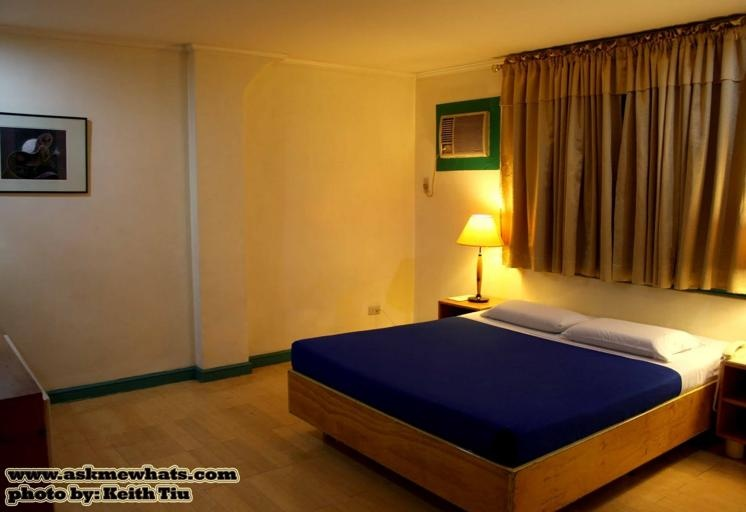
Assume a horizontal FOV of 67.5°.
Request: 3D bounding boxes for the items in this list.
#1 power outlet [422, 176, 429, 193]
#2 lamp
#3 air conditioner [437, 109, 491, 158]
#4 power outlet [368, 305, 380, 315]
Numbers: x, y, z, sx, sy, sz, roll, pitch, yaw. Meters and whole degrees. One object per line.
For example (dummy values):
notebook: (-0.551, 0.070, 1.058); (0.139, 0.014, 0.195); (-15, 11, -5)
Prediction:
power outlet: (0.617, -0.832, 6.468); (0.029, 0.182, 0.119); (-12, 19, -38)
lamp: (1.117, 0.010, 5.786); (0.438, 0.905, 0.486); (6, 16, 21)
air conditioner: (0.997, -1.319, 5.962); (0.120, 0.404, 0.535); (-4, 7, -43)
power outlet: (-0.002, 0.611, 6.477); (0.115, 0.082, 0.020); (-3, 9, -26)
